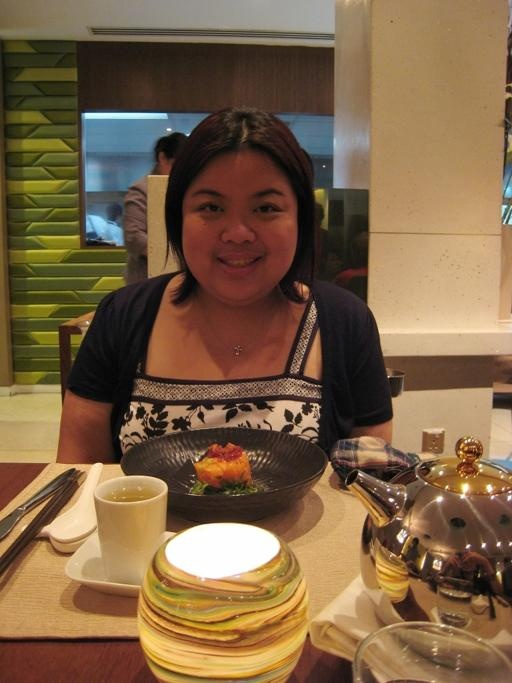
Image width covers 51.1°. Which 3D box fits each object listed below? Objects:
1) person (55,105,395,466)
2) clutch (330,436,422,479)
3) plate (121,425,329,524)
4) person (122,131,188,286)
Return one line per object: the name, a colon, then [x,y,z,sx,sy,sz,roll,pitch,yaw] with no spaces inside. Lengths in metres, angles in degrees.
person: [-0.089,-0.115,1.329,0.805,0.845,0.409,-4,12,8]
clutch: [0.185,0.188,0.936,0.121,0.053,0.157,1,1,3]
plate: [-0.050,0.213,0.859,0.314,0.065,0.312,-3,9,-23]
person: [-0.666,-0.837,3.756,0.286,1.002,0.424,9,23,7]
